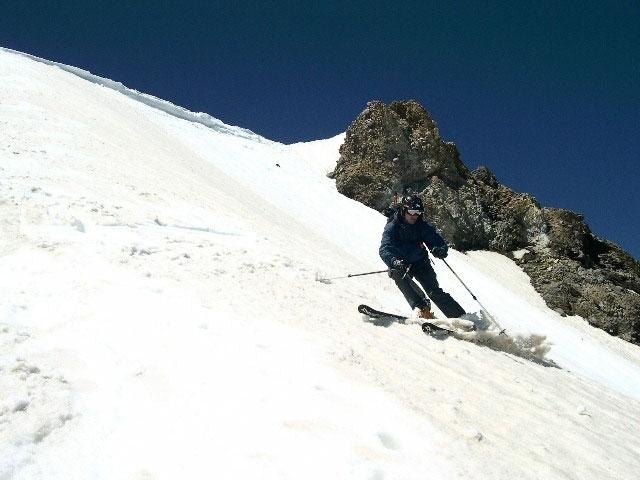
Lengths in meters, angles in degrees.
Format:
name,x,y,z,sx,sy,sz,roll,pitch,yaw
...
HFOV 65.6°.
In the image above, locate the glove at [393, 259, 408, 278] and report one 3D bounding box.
name,x,y,z,sx,sy,sz,roll,pitch,yaw
glove,1.734,0.595,10.706,0.169,0.369,0.280,-11,-22,42
